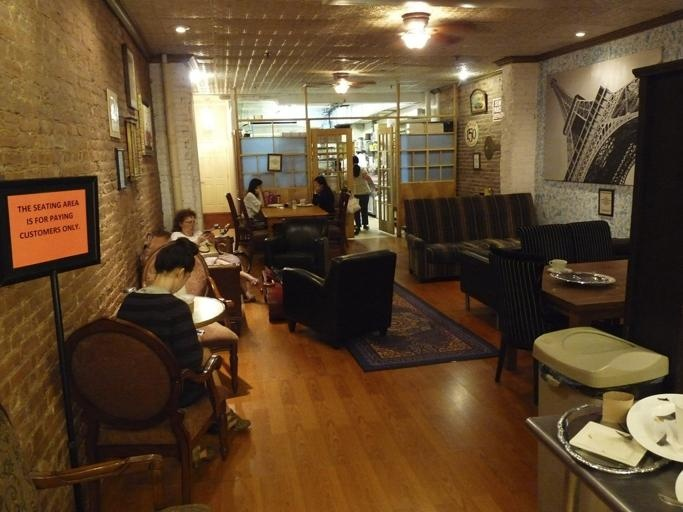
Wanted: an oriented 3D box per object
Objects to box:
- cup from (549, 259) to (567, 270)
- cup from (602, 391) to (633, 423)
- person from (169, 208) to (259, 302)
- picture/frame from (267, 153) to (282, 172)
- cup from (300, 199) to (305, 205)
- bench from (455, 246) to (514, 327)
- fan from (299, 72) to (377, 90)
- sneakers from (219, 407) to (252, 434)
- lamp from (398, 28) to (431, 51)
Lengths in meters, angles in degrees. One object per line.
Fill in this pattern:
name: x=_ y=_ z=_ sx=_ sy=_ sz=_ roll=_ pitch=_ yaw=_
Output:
cup: x=1.944 y=0.072 z=4.603 sx=0.149 sy=0.105 sz=0.136 roll=-6 pitch=4 yaw=0
cup: x=1.058 y=0.560 z=1.987 sx=0.107 sy=0.122 sz=0.115 roll=0 pitch=7 yaw=0
person: x=-1.443 y=-0.022 z=5.982 sx=0.972 sy=1.103 sz=0.455 roll=-3 pitch=19 yaw=16
picture/frame: x=-1.381 y=-1.923 z=10.402 sx=0.351 sy=0.431 sz=0.059 roll=-1 pitch=7 yaw=-18
cup: x=-0.758 y=-1.070 z=9.942 sx=0.105 sy=0.115 sz=0.137 roll=0 pitch=2 yaw=0
bench: x=1.650 y=0.243 z=5.748 sx=0.738 sy=0.756 sz=0.726 roll=-8 pitch=13 yaw=-30
fan: x=-0.042 y=-3.301 z=9.689 sx=1.397 sy=0.185 sz=2.159 roll=-4 pitch=15 yaw=-9
sneakers: x=-0.762 y=1.192 z=3.766 sx=0.287 sy=0.217 sz=0.097 roll=-1 pitch=3 yaw=-38
lamp: x=0.879 y=-2.511 z=5.903 sx=0.389 sy=0.296 sz=0.402 roll=-8 pitch=21 yaw=-16
